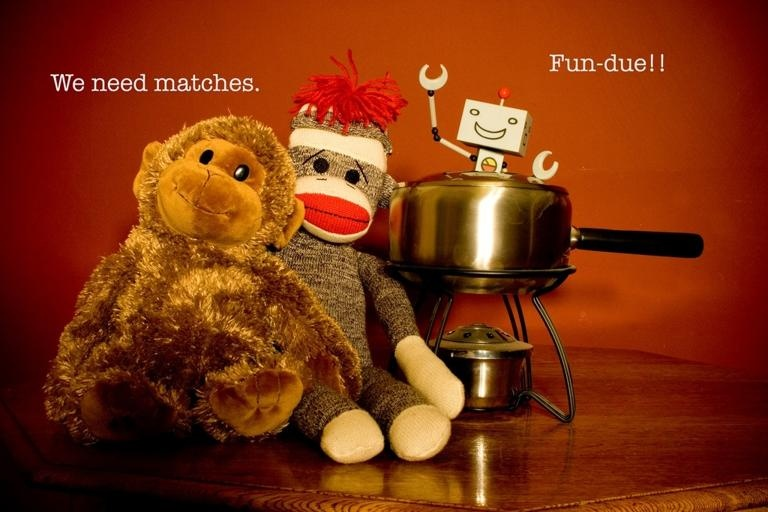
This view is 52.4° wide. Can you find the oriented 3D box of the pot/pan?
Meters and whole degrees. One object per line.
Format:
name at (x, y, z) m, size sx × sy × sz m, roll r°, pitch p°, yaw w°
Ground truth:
pot/pan at (0.286, -0.036, 1.427) m, size 0.482 × 0.150 × 0.276 m, roll 2°, pitch 0°, yaw -6°
